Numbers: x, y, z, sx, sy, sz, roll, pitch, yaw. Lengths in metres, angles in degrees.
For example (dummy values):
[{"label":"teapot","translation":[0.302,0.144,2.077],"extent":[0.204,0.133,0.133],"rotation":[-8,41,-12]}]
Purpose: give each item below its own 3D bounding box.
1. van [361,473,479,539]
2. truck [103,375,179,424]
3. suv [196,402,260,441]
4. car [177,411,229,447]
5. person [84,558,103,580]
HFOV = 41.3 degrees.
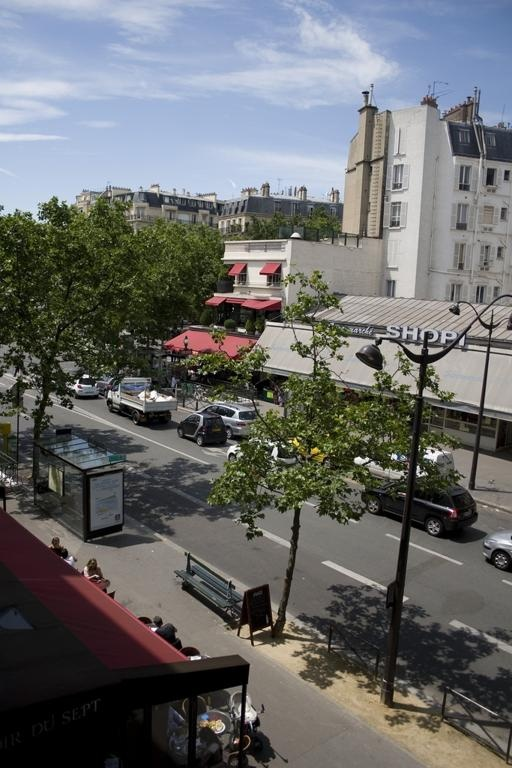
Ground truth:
[{"label":"van","translation":[4.835,3.417,20.274],"extent":[1.491,1.232,3.431],"rotation":[-7,12,-42]},{"label":"truck","translation":[-5.848,0.805,34.565],"extent":[1.826,1.717,4.334],"rotation":[-4,13,-36]},{"label":"suv","translation":[-1.009,1.412,31.025],"extent":[2.653,1.169,1.562],"rotation":[18,16,42]},{"label":"car","translation":[-2.258,1.864,29.591],"extent":[1.170,0.949,1.910],"rotation":[-3,12,-34]},{"label":"person","translation":[-3.228,3.626,13.544],"extent":[0.296,0.405,0.835],"rotation":[1,7,-19]}]
